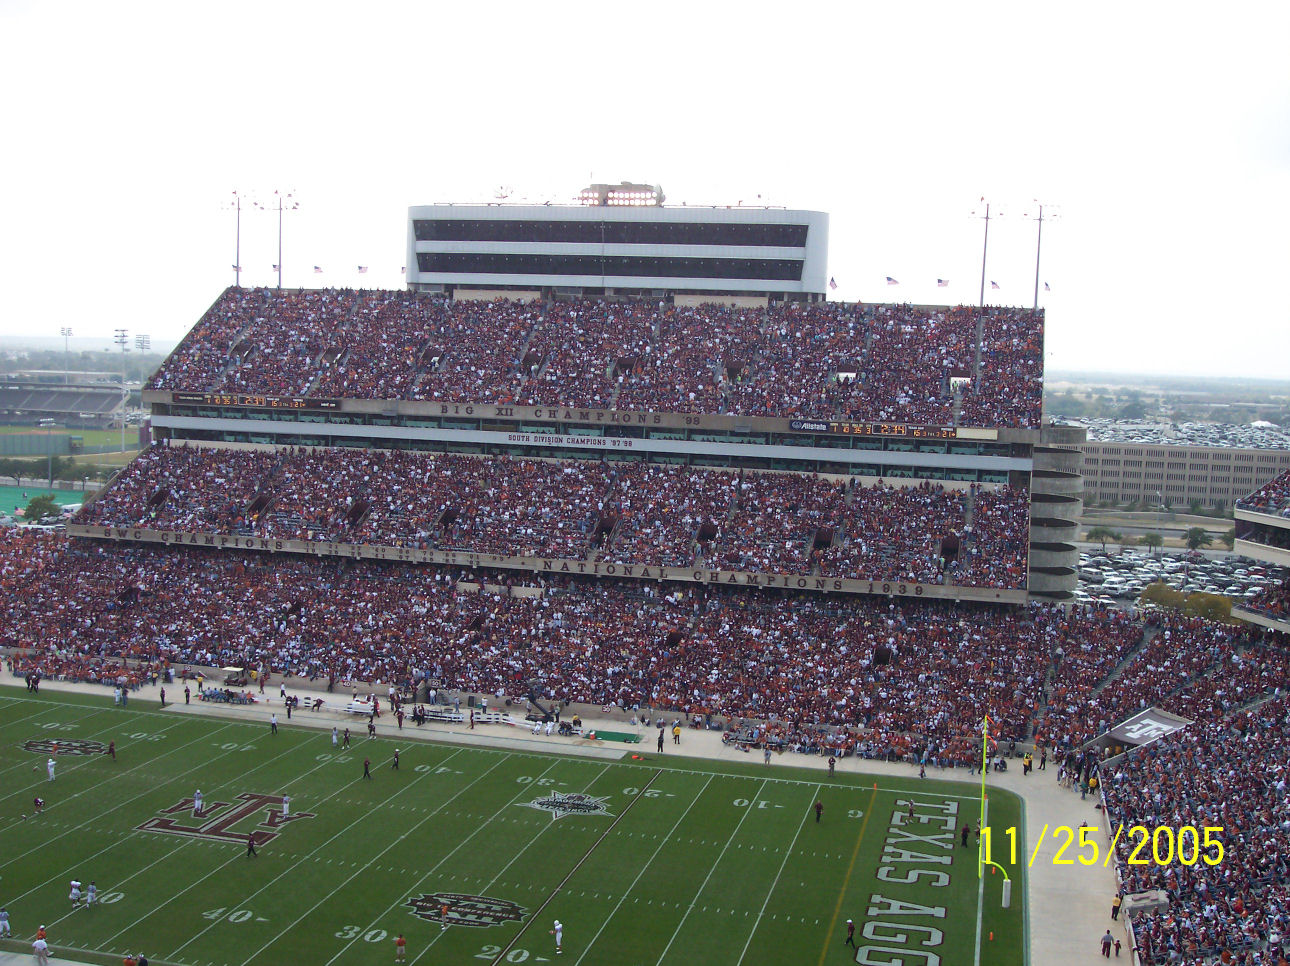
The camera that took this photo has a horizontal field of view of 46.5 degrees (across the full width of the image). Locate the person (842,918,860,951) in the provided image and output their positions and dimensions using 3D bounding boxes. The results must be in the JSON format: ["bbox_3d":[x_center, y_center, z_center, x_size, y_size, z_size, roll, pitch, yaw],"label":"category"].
[{"bbox_3d":[5.435,11.974,40.350,0.346,0.672,1.032,2,3,7],"label":"person"}]

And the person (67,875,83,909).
[{"bbox_3d":[-16.320,11.262,41.785,0.366,0.675,1.117,0,3,-22],"label":"person"}]

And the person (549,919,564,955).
[{"bbox_3d":[-2.535,11.930,39.946,0.383,0.777,1.104,1,3,-3],"label":"person"}]

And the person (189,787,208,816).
[{"bbox_3d":[-14.350,9.897,46.684,0.550,0.860,0.444,8,12,27],"label":"person"}]
